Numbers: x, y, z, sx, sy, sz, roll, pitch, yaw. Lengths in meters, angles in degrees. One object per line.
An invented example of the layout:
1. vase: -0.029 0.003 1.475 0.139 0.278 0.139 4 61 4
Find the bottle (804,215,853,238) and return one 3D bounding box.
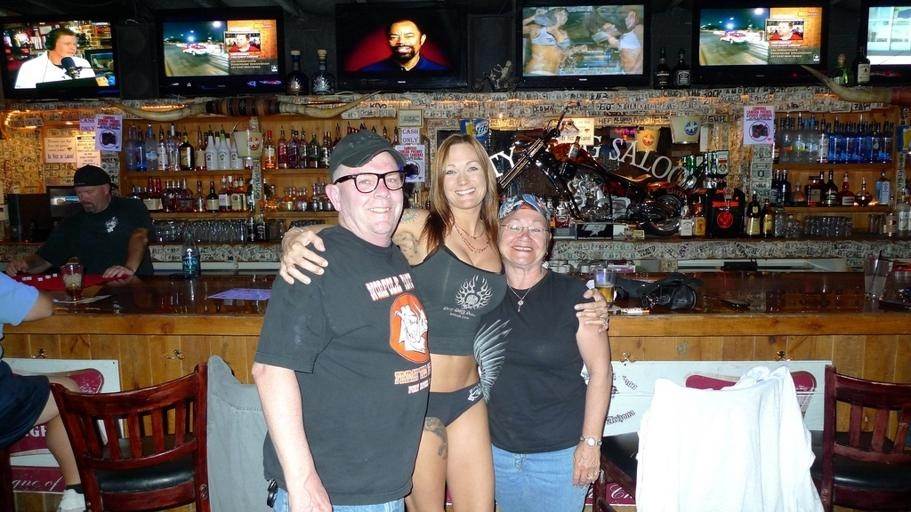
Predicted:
1. bottle: 4.155 -0.326 8.038 0.470 0.225 0.460 -2 7 0

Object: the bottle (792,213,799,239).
1. bottle: 3.768 -0.330 7.986 0.099 0.227 0.357 1 7 25

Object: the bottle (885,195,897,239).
1. bottle: 4.920 -0.439 8.126 0.113 0.402 0.530 2 8 31

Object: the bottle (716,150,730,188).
1. bottle: 3.096 -1.021 8.334 0.127 0.408 0.400 0 8 21

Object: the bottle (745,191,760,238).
1. bottle: 3.293 -0.450 7.963 0.172 0.465 0.223 0 8 16

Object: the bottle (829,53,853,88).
1. bottle: 4.293 -2.053 7.977 0.320 0.352 0.186 -8 9 -35

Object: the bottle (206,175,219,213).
1. bottle: -2.865 -0.703 8.505 0.144 0.353 0.405 -6 8 -19

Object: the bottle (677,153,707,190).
1. bottle: 2.849 -1.017 8.645 0.315 0.430 0.385 0 8 16

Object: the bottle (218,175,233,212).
1. bottle: -2.696 -0.730 8.459 0.151 0.415 0.311 -5 8 -16

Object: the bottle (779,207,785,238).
1. bottle: 3.599 -0.352 7.954 0.091 0.268 0.159 1 9 24

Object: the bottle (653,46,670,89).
1. bottle: 2.326 -2.090 8.045 0.164 0.463 0.230 3 10 34

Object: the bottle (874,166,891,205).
1. bottle: 4.961 -0.789 8.336 0.215 0.389 0.127 -8 10 -34

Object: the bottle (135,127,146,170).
1. bottle: -3.698 -1.226 8.450 0.126 0.461 0.227 -6 8 -18

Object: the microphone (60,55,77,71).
1. microphone: -4.314 -2.143 8.033 0.146 0.128 0.142 -12 22 48

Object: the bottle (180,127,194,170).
1. bottle: -3.136 -1.223 8.410 0.163 0.425 0.275 -7 9 -27

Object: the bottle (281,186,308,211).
1. bottle: -1.882 -0.656 8.513 0.346 0.314 0.324 4 -6 -38

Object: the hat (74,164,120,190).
1. hat: -3.435 -0.756 6.940 0.303 0.208 0.433 8 12 8

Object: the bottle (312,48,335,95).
1. bottle: -1.498 -2.082 8.147 0.259 0.527 0.247 -3 8 0

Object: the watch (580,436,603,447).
1. watch: 0.933 1.268 4.926 0.123 0.059 0.107 2 -10 5

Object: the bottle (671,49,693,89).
1. bottle: 2.524 -2.090 8.034 0.188 0.443 0.250 0 8 16

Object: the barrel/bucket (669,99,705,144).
1. barrel/bucket: 2.641 -1.572 8.393 0.503 0.481 0.396 0 2 3

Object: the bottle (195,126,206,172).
1. bottle: -2.988 -1.255 8.464 0.138 0.495 0.413 -6 8 -18

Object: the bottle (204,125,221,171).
1. bottle: -2.846 -1.235 8.408 0.148 0.486 0.270 -6 8 -19

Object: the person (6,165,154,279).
1. person: -3.441 -0.238 7.156 1.547 1.251 1.110 3 13 6

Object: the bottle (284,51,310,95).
1. bottle: -1.794 -2.061 8.134 0.240 0.491 0.235 -3 8 0

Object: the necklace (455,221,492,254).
1. necklace: 0.098 -0.115 5.084 0.053 0.222 0.201 -42 21 25

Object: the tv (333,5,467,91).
1. tv: -0.558 -2.303 7.854 1.105 0.580 0.118 1 5 -1
